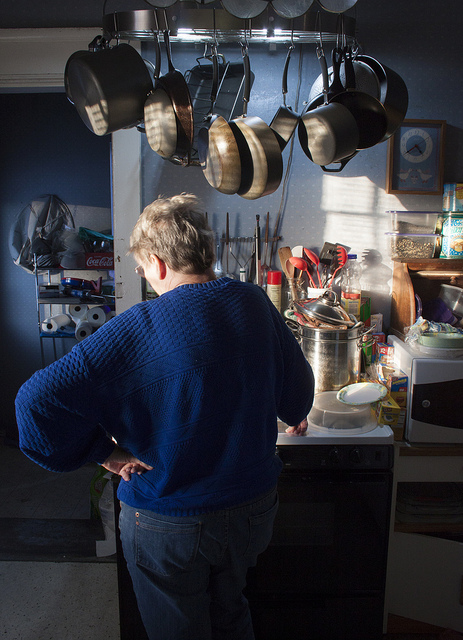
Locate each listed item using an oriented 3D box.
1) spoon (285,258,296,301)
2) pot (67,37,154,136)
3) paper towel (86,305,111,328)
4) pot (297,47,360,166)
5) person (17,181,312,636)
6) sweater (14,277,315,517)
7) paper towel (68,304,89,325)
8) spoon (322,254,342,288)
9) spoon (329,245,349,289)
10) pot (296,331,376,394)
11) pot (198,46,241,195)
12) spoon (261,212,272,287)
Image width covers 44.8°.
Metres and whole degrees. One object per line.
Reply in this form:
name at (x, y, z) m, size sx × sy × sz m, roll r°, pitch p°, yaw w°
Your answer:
spoon at (0.226, -0.162, 2.216) m, size 0.034 × 0.168 × 0.026 m, roll 4°, pitch -15°, yaw -6°
pot at (-0.304, -0.592, 1.497) m, size 0.181 × 0.252 × 0.182 m, roll -7°, pitch 34°, yaw 4°
paper towel at (-0.720, -0.025, 3.045) m, size 0.111 × 0.096 × 0.104 m, roll -6°, pitch 8°, yaw -9°
pot at (0.268, -0.572, 1.514) m, size 0.173 × 0.298 × 0.134 m, roll 0°, pitch 10°, yaw -1°
person at (-0.092, 0.280, 1.261) m, size 0.699 × 1.096 × 0.280 m, roll -5°, pitch 11°, yaw -31°
sweater at (-0.105, 0.166, 1.270) m, size 0.701 × 0.488 × 0.344 m, roll -13°, pitch 16°, yaw -28°
paper towel at (-0.849, -0.034, 3.209) m, size 0.120 × 0.117 × 0.132 m, roll 13°, pitch -8°, yaw -12°
spoon at (0.391, -0.191, 2.247) m, size 0.028 × 0.162 × 0.045 m, roll -8°, pitch 45°, yaw -23°
spoon at (0.420, -0.216, 2.211) m, size 0.031 × 0.180 × 0.033 m, roll 11°, pitch 17°, yaw -39°
pot at (0.348, 0.127, 1.969) m, size 0.301 × 0.260 × 0.180 m, roll -1°, pitch 4°, yaw -1°
pot at (-0.033, -0.447, 1.521) m, size 0.117 × 0.200 × 0.121 m, roll 1°, pitch 10°, yaw 0°
spoon at (0.136, -0.278, 2.235) m, size 0.036 × 0.285 × 0.071 m, roll 2°, pitch 10°, yaw 8°
